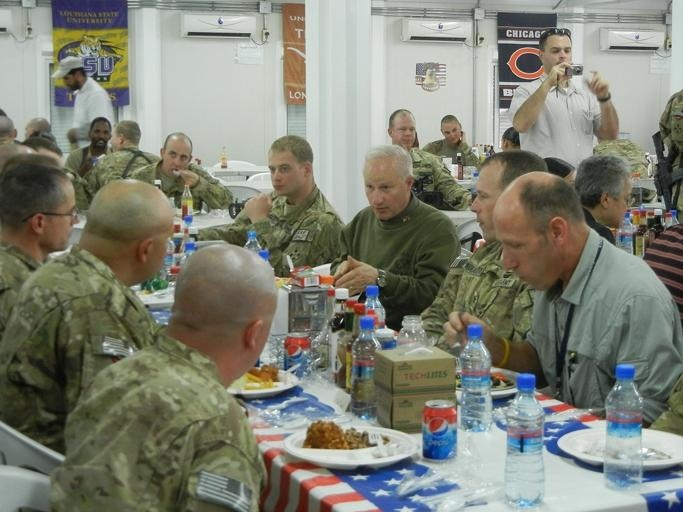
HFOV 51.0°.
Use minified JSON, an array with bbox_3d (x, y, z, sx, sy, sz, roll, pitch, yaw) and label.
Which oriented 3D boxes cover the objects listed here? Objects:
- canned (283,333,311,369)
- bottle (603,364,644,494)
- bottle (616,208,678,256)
[{"bbox_3d":[-0.158,0.334,2.512,0.102,0.186,0.103,1,-7,1],"label":"canned"},{"bbox_3d":[0.688,0.400,1.736,0.095,0.273,0.159,5,11,23],"label":"bottle"},{"bbox_3d":[1.714,-0.133,4.054,0.281,0.297,0.291,0,-1,3],"label":"bottle"}]
